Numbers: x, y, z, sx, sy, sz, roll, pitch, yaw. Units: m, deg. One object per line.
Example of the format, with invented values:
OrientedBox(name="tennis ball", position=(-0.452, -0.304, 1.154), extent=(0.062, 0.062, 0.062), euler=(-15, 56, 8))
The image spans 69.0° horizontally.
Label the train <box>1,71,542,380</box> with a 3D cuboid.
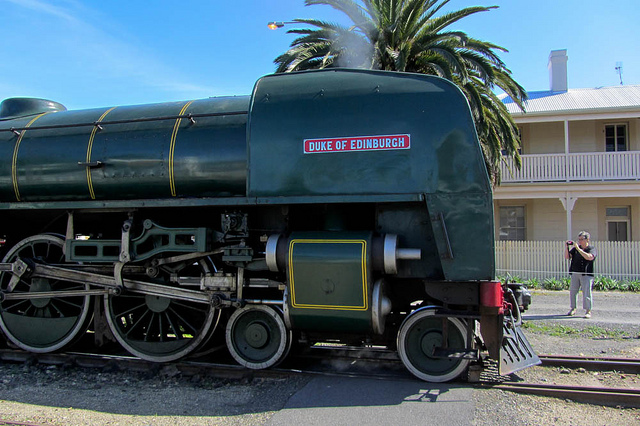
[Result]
OrientedBox(name="train", position=(-1.069, 0.114, 7.684), extent=(8.449, 4.731, 1.460), euler=(1, 13, 10))
